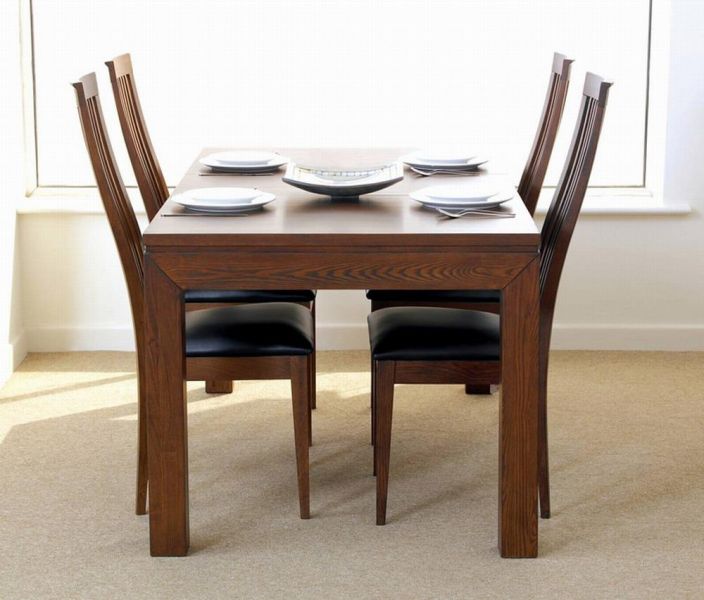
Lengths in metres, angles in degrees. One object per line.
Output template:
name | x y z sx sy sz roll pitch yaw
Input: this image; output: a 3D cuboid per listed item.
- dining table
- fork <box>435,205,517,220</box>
dining table | -0.025 0.148 1.880 1.007 0.874 0.753 -1 18 -1
fork | 0.312 -0.225 1.697 0.269 0.043 0.034 -1 34 -7
